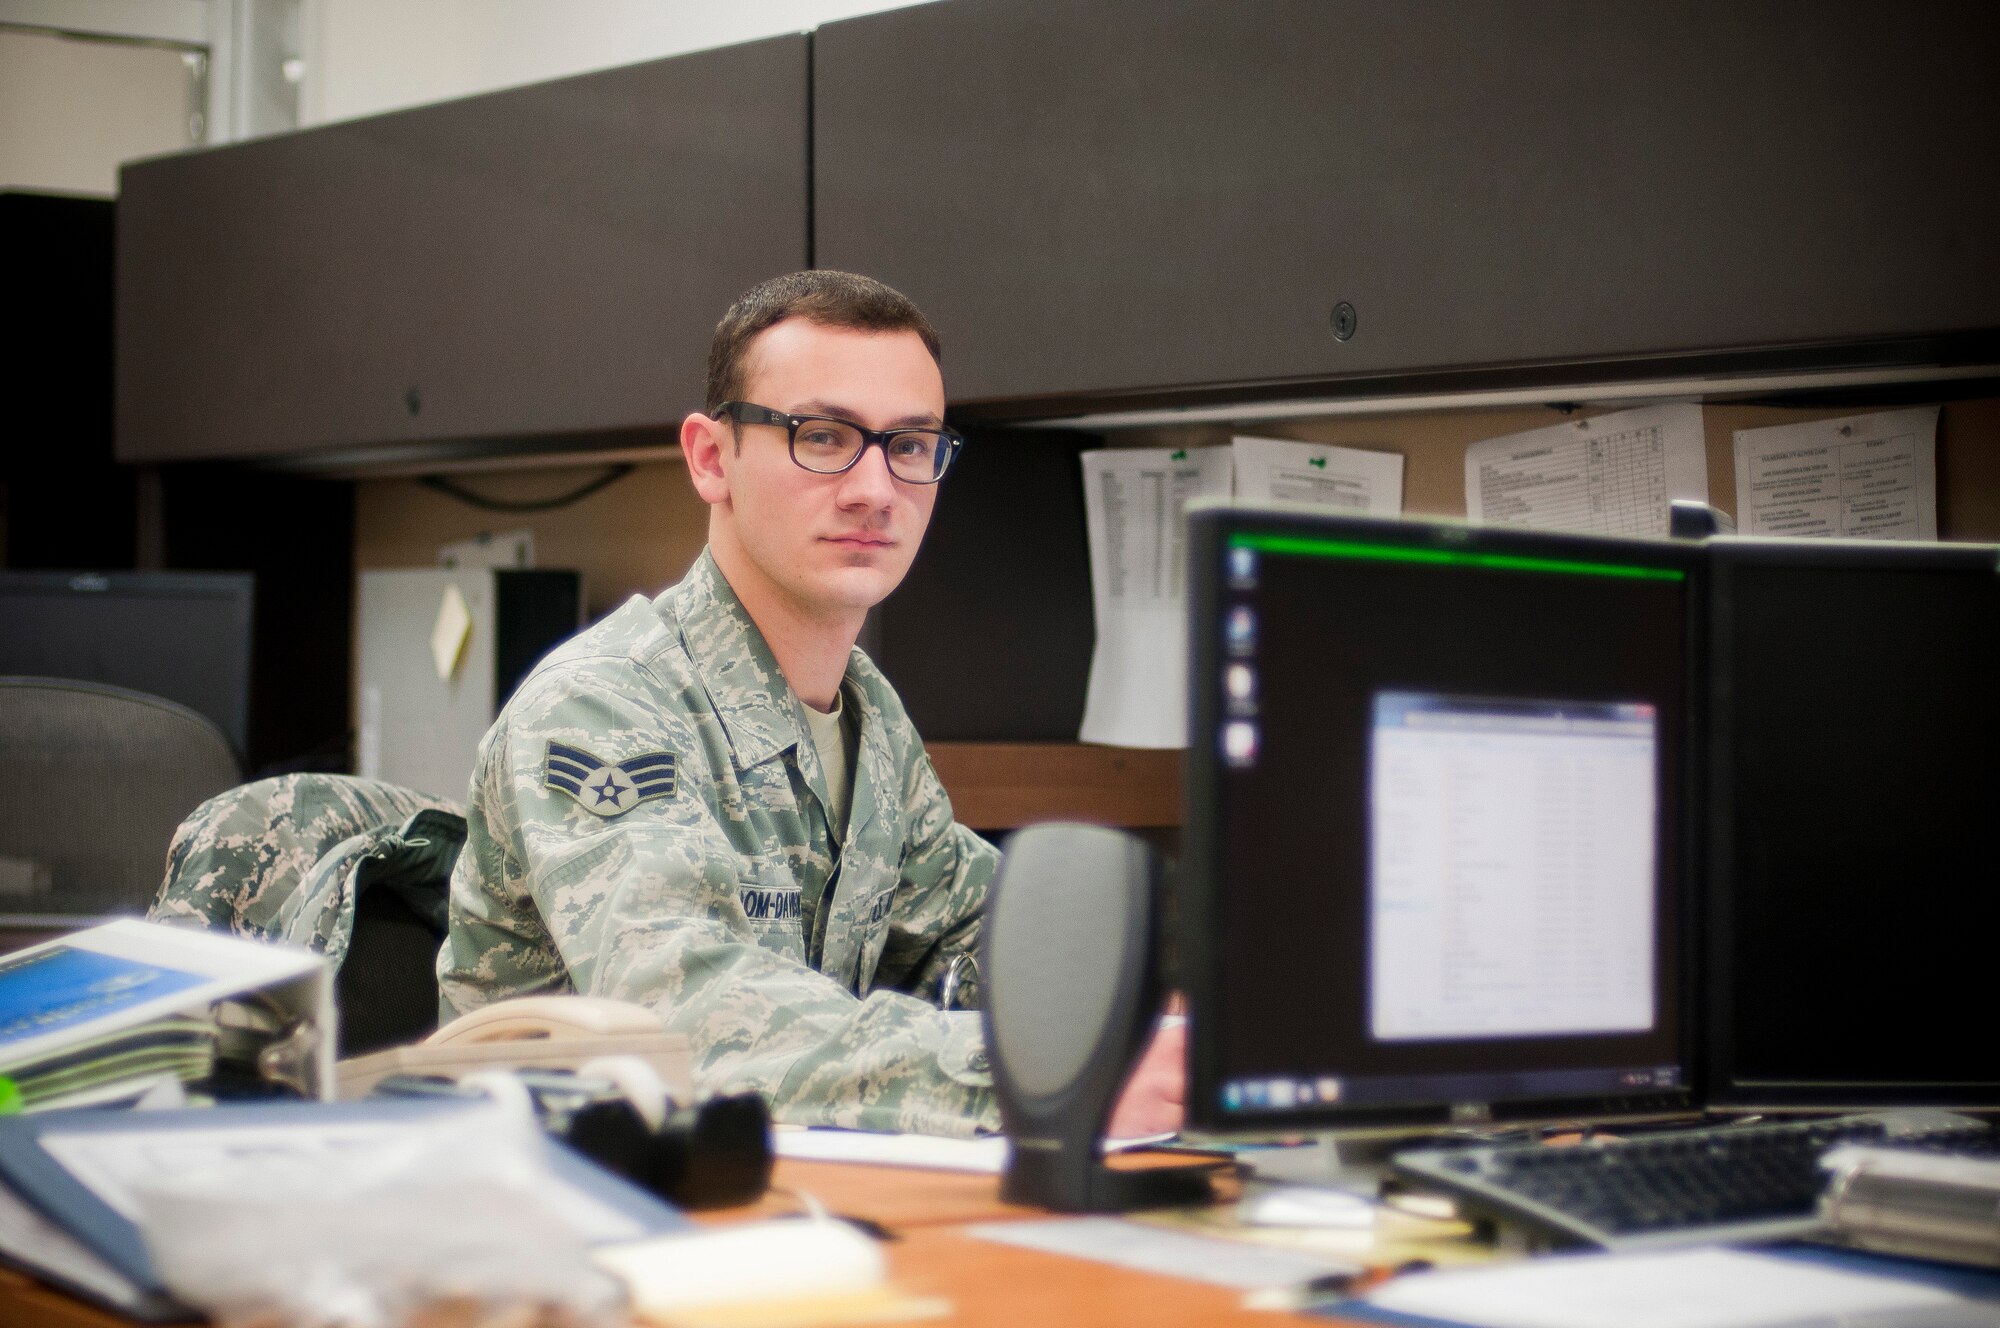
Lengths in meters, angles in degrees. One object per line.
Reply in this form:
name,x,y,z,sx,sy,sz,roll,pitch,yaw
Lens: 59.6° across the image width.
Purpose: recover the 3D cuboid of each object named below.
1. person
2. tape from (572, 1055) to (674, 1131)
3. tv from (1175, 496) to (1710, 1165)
person,-0.140,0.027,1.728,0.751,0.765,0.584,-7,-7,43
tape,-0.218,0.247,1.016,0.041,0.024,0.041,2,-2,19
tv,0.267,0.107,1.065,0.435,0.386,0.044,3,-5,-24
